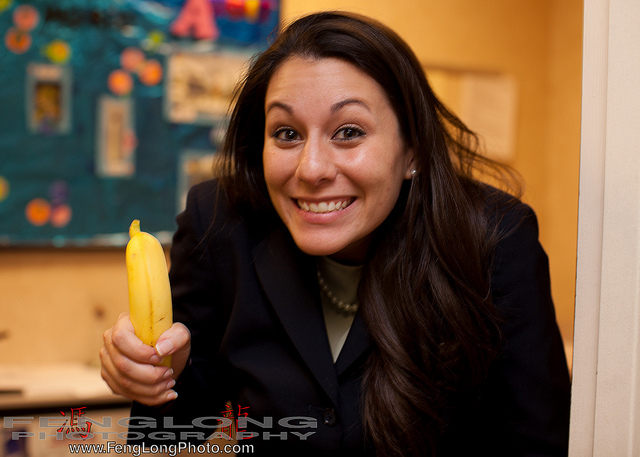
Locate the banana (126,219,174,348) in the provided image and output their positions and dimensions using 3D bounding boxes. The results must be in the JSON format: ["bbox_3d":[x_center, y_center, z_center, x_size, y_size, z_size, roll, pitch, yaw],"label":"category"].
[{"bbox_3d":[-0.429,0.150,1.598,0.098,0.343,0.108,-13,-4,-4],"label":"banana"}]

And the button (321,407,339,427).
[{"bbox_3d":[0.028,0.518,1.676,0.044,0.044,0.015,42,7,12],"label":"button"}]

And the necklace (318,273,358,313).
[{"bbox_3d":[0.062,0.192,1.847,0.082,0.102,0.024,-15,-22,-43],"label":"necklace"}]

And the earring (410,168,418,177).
[{"bbox_3d":[0.272,-0.158,1.760,0.013,0.025,0.038,-7,10,-16],"label":"earring"}]
